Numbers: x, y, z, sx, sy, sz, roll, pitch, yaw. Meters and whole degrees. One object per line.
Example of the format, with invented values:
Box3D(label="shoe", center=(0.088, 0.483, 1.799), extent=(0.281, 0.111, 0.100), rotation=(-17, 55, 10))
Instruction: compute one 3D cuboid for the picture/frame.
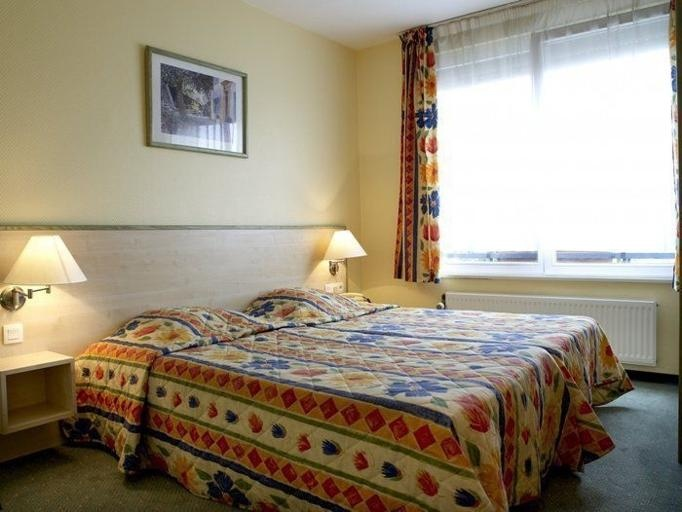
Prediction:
Box3D(label="picture/frame", center=(-1.190, -1.239, 3.934), extent=(0.050, 0.807, 1.034), rotation=(0, -1, 39))

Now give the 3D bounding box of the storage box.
Box3D(label="storage box", center=(1.893, 0.626, 4.432), extent=(1.704, 0.576, 0.188), rotation=(2, 6, 12))

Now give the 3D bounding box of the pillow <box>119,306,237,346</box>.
Box3D(label="pillow", center=(-1.155, 0.481, 3.291), extent=(0.368, 0.089, 0.376), rotation=(0, 4, 33))

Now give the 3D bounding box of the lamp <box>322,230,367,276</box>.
Box3D(label="lamp", center=(0.058, -0.060, 5.000), extent=(0.443, 0.465, 0.481), rotation=(-7, -1, 4))
